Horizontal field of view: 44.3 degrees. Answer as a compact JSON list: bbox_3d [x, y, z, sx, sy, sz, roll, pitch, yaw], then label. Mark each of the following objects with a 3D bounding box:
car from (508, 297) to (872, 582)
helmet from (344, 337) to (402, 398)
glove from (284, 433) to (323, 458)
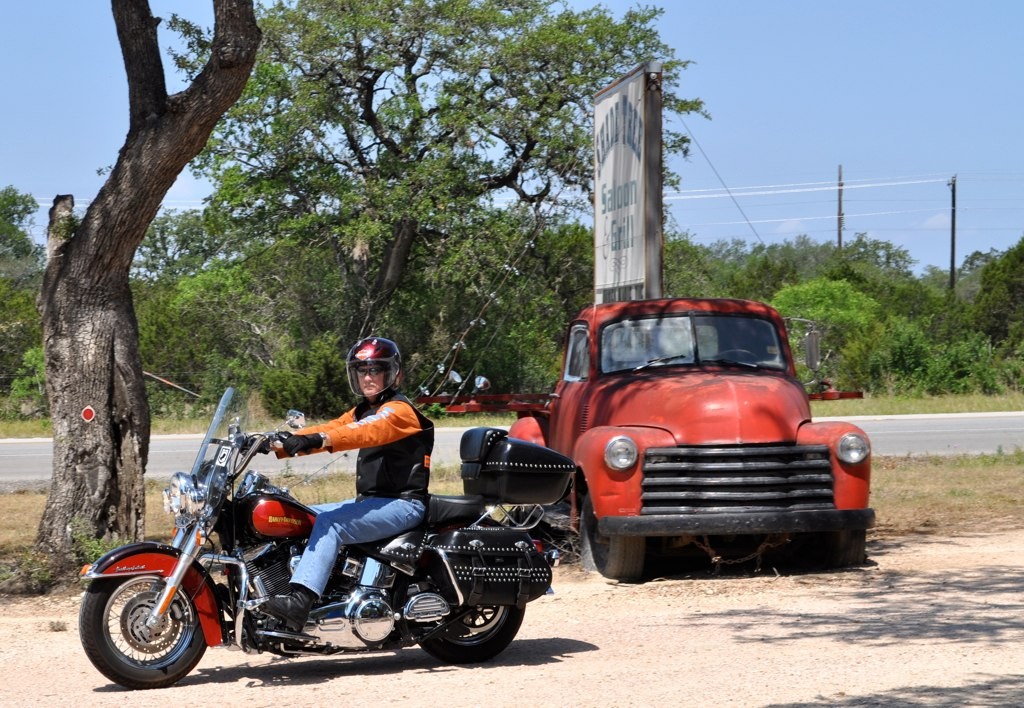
[{"bbox_3d":[2.193,0.857,14.245,3.343,3.204,2.503,-1,-3,3],"label":"car"},{"bbox_3d":[-1.179,0.089,11.081,0.445,0.467,0.540,-2,-9,10],"label":"helmet"},{"bbox_3d":[-1.719,0.725,10.320,0.287,0.105,0.172,-8,-9,-35],"label":"glove"}]
